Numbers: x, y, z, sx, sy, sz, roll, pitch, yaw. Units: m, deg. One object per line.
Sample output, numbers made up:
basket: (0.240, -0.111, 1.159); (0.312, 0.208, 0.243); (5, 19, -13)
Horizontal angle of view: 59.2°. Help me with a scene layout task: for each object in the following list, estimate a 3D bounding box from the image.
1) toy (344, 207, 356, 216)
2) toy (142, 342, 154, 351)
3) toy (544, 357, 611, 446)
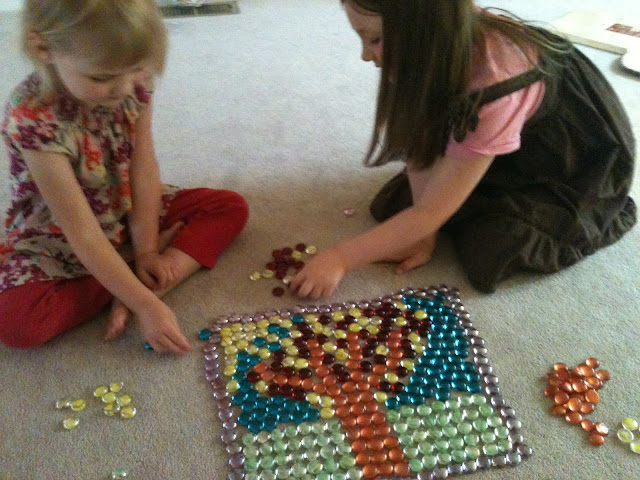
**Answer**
toy: (0.100, -0.097, 1.936); (0.025, 0.012, 0.028); (10, 20, 7)
toy: (-0.473, 0.293, 1.549); (0.025, 0.015, 0.019); (42, 50, 17)
toy: (0.655, 0.407, 1.440); (0.148, 0.048, 0.185); (-5, 43, 7)
